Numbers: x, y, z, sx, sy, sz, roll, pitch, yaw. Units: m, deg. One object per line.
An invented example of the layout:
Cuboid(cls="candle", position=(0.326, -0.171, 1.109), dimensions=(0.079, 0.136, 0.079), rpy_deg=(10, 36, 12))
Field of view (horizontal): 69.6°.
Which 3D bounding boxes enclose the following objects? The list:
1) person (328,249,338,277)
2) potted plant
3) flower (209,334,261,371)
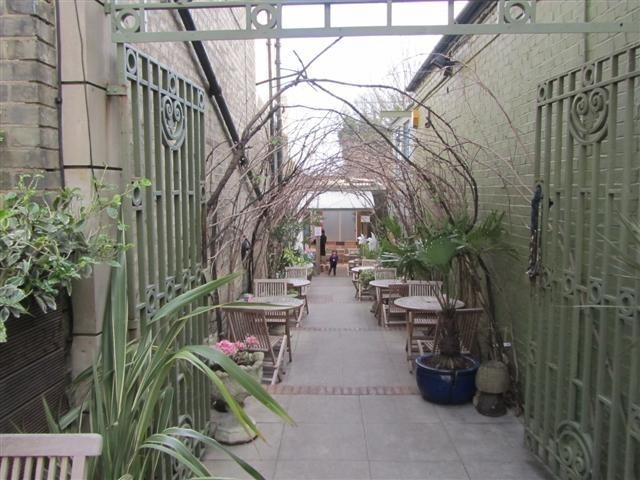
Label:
Cuboid(cls="person", position=(0.463, 0.837, 16.070), dimensions=(0.266, 0.709, 0.801), rpy_deg=(0, 4, 1))
Cuboid(cls="potted plant", position=(1.679, 0.713, 5.633), dimensions=(1.335, 2.085, 2.558), rpy_deg=(2, 4, 23))
Cuboid(cls="flower", position=(-0.959, 1.237, 5.252), dimensions=(0.491, 0.405, 1.169), rpy_deg=(0, 4, -6))
